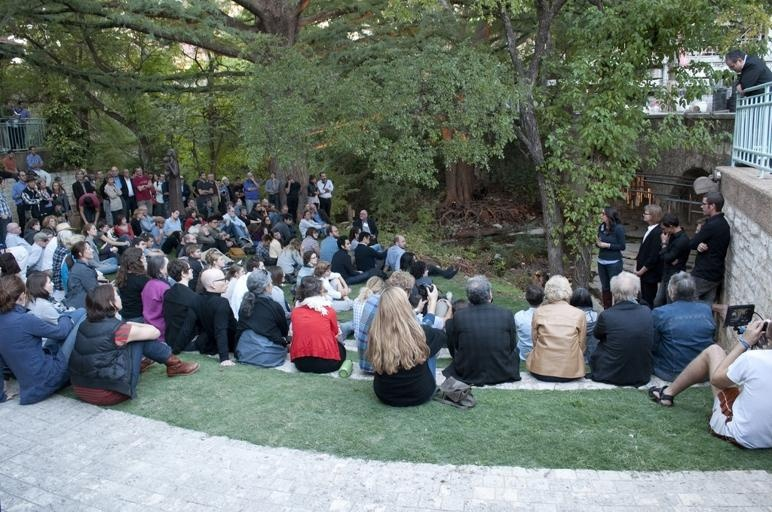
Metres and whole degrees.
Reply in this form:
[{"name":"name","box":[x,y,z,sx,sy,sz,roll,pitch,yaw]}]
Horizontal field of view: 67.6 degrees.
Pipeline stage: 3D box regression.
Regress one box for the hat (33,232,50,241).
[{"name":"hat","box":[-7.056,-0.396,11.847,0.169,0.207,0.215,10,-16,34]}]

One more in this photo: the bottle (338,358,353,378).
[{"name":"bottle","box":[-0.629,1.680,8.988,0.210,0.212,0.342,-15,10,7]}]

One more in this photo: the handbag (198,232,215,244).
[{"name":"handbag","box":[-4.697,-0.456,15.149,0.328,0.142,0.251,36,12,24]}]

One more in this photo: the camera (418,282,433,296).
[{"name":"camera","box":[0.624,0.524,9.617,0.216,0.255,0.210,12,50,14]}]

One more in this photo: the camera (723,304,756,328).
[{"name":"camera","box":[4.440,0.749,7.275,0.341,0.305,0.088,4,5,-3]}]

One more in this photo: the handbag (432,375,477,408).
[{"name":"handbag","box":[0.956,1.898,8.056,0.591,0.315,0.387,1,5,9]}]

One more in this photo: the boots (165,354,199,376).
[{"name":"boots","box":[-3.076,1.653,8.670,0.554,0.369,0.224,-3,13,-22]}]

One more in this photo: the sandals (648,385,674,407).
[{"name":"sandals","box":[3.743,1.908,7.895,0.183,0.142,0.344,0,8,-1]}]
